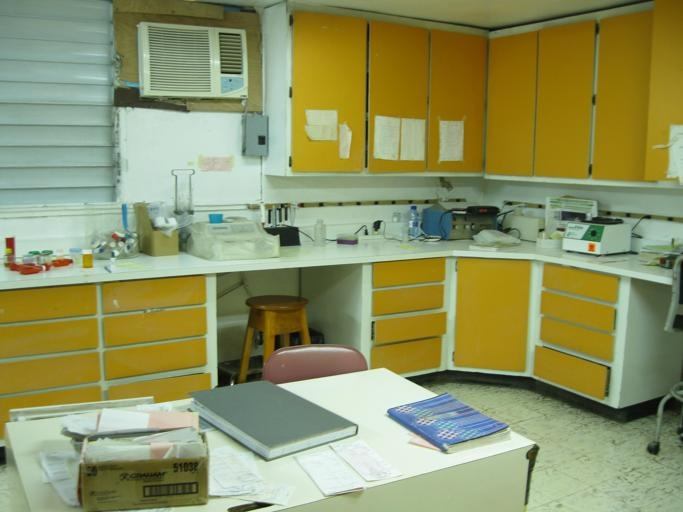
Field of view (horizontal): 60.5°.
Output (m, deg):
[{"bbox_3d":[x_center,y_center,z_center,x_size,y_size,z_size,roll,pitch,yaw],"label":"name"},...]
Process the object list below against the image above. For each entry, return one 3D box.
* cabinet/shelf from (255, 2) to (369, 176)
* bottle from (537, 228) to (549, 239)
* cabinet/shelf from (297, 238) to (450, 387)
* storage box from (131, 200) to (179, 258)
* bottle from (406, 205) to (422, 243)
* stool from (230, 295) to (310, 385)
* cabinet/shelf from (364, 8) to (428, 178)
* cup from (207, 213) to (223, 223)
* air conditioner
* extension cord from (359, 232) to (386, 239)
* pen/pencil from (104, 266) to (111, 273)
[{"bbox_3d":[-0.194,-1.173,4.315,0.893,1.204,0.389,7,13,-10],"label":"cabinet/shelf"},{"bbox_3d":[1.523,-0.168,4.441,0.069,0.107,0.113,2,13,11],"label":"bottle"},{"bbox_3d":[0.159,0.358,4.614,0.987,1.226,1.037,-4,8,-31],"label":"cabinet/shelf"},{"bbox_3d":[-1.307,-0.290,3.955,0.332,0.497,0.544,-3,11,-24],"label":"storage box"},{"bbox_3d":[0.622,-0.286,4.917,0.148,0.249,0.378,11,12,6],"label":"bottle"},{"bbox_3d":[-0.370,0.536,4.158,0.625,0.725,0.587,1,8,10],"label":"stool"},{"bbox_3d":[0.415,-1.201,4.484,0.565,1.110,0.166,3,14,-28],"label":"cabinet/shelf"},{"bbox_3d":[-0.839,-0.263,3.974,0.083,0.051,0.078,2,8,0],"label":"cup"},{"bbox_3d":[-1.068,-1.347,4.035,0.769,0.445,0.256,0,-1,-30],"label":"air conditioner"},{"bbox_3d":[0.263,-0.161,4.772,0.178,0.047,0.221,12,13,16],"label":"extension cord"},{"bbox_3d":[-1.362,0.080,3.437,0.026,0.008,0.178,-12,15,-26],"label":"pen/pencil"}]
